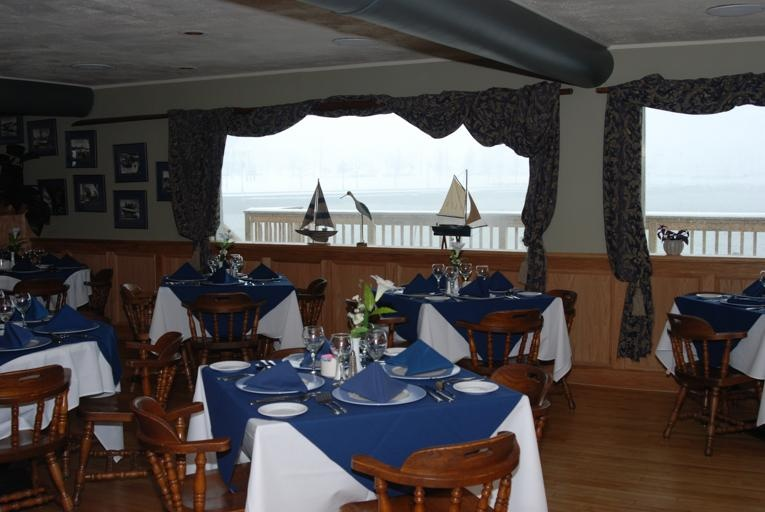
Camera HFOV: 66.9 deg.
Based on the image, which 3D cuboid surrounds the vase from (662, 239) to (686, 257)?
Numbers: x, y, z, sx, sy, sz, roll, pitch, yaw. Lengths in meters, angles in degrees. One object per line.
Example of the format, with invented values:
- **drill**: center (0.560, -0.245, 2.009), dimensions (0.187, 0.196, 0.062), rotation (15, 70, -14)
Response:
- **vase**: center (3.002, -0.083, 5.947), dimensions (0.167, 0.126, 0.172), rotation (0, 1, 0)

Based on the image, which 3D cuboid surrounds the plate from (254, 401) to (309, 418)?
- **plate**: center (-0.490, 0.750, 2.817), dimensions (0.238, 0.021, 0.176), rotation (4, 11, 19)

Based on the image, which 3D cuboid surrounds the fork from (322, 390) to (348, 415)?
- **fork**: center (-0.241, 0.729, 2.877), dimensions (0.048, 0.021, 0.180), rotation (-4, 11, -15)

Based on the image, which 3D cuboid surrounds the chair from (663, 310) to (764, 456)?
- **chair**: center (2.771, 0.949, 4.834), dimensions (0.668, 1.092, 1.069), rotation (6, 12, 33)

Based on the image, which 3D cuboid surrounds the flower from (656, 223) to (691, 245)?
- **flower**: center (2.999, -0.264, 5.993), dimensions (0.280, 0.114, 0.272), rotation (18, -10, -40)

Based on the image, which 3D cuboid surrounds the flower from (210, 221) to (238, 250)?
- **flower**: center (-2.175, -0.277, 7.881), dimensions (0.445, 0.289, 0.541), rotation (6, 13, -4)
